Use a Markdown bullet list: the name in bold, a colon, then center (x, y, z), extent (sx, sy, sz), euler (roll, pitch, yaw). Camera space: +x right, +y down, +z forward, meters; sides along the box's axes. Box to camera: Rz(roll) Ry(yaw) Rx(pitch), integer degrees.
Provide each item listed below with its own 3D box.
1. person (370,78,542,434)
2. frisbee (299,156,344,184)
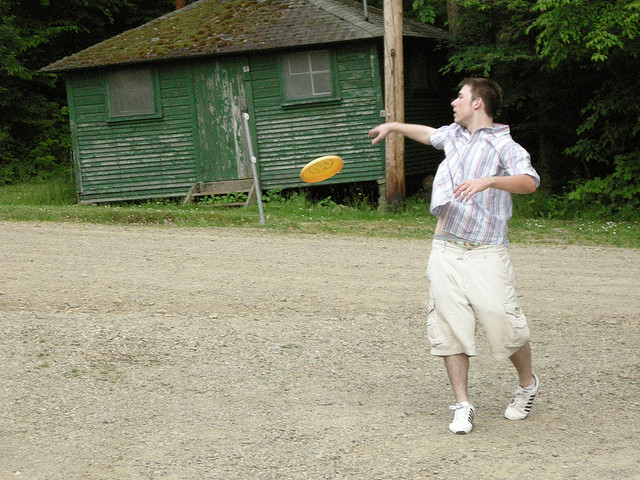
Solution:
- **person**: center (1.581, 0.141, 8.757), extent (1.147, 3.430, 0.779), euler (0, 8, 14)
- **frisbee**: center (0.038, -0.830, 10.508), extent (0.464, 0.309, 0.461), euler (-1, 7, 3)
